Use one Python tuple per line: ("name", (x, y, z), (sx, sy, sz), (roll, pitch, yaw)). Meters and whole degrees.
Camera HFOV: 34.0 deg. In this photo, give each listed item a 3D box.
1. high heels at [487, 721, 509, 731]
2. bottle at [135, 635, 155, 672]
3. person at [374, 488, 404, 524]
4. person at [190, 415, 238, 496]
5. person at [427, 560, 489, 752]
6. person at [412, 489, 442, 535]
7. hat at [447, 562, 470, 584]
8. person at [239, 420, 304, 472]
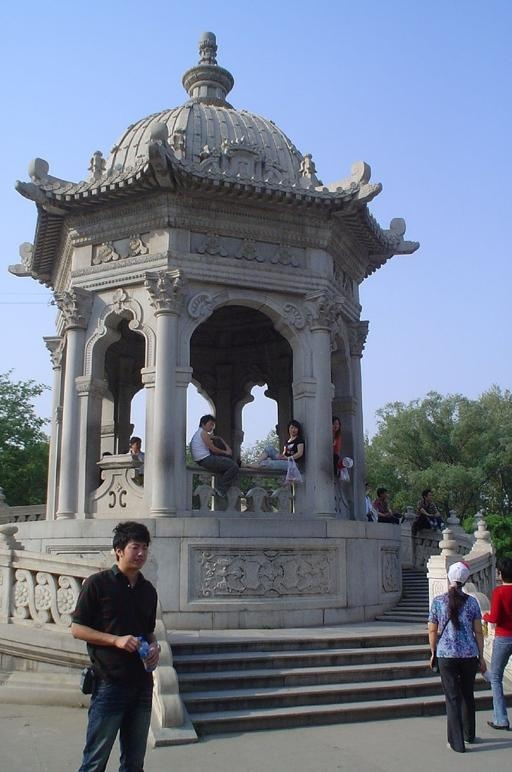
("high heels", (2.278, 3.174, 7.866), (0.069, 0.075, 0.182), (6, -3, -31))
("bottle", (-0.648, 1.568, 4.884), (0.077, 0.208, 0.187), (1, -10, -7))
("person", (2.635, 2.379, 16.878), (0.519, 0.675, 1.698), (-1, -10, 8))
("person", (-0.614, 1.027, 12.451), (0.699, 1.192, 0.469), (0, -10, -1))
("person", (1.761, 2.315, 7.289), (0.457, 1.542, 0.457), (-2, -10, 11))
("person", (3.611, 2.620, 17.684), (0.475, 0.940, 1.288), (-3, -10, 17))
("hat", (1.799, 1.617, 7.402), (0.150, 0.218, 0.104), (1, -43, 20))
("person", (0.410, 0.942, 13.302), (0.731, 0.808, 0.857), (0, -10, 4))
